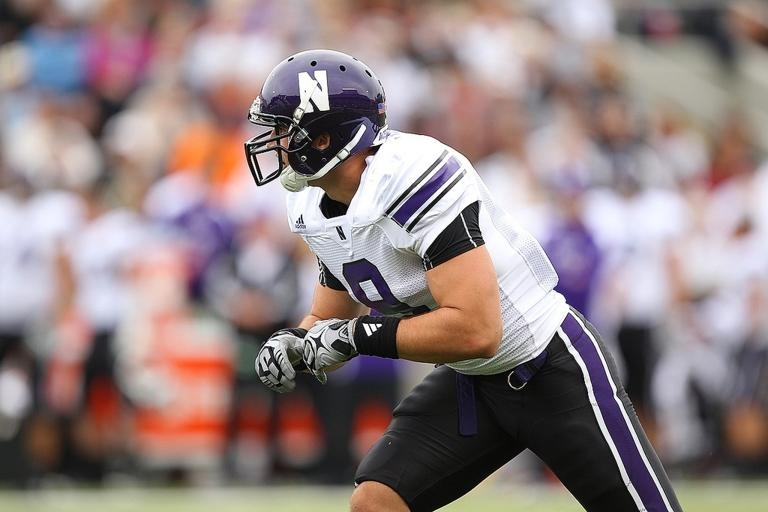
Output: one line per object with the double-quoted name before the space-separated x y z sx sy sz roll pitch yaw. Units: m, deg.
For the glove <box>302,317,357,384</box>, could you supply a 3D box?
"glove" -0.232 0.371 4.259 0.225 0.303 0.225 -3 48 -6
